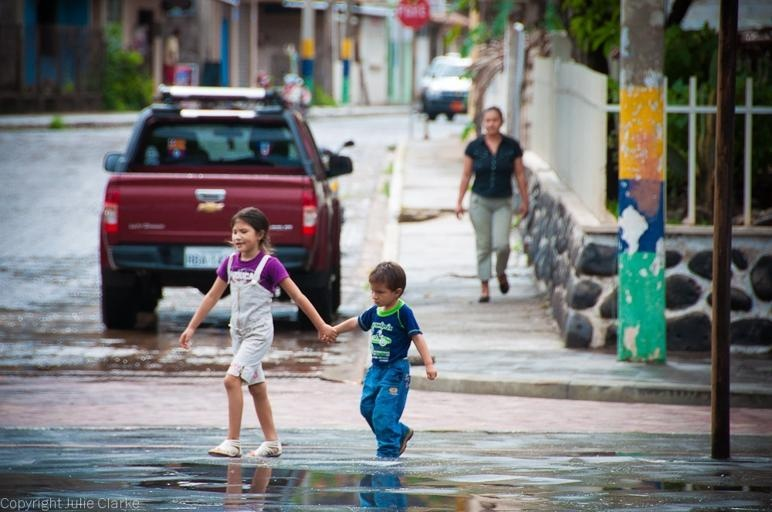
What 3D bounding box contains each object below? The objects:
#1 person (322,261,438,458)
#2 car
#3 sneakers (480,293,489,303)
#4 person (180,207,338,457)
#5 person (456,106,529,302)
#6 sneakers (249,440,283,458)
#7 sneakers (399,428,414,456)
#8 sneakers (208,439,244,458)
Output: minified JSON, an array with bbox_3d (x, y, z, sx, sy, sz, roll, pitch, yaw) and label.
[{"bbox_3d":[0.034,1.014,17.818,0.908,1.976,0.545,12,17,43],"label":"person"},{"bbox_3d":[1.424,-4.349,45.635,1.152,1.150,2.453,0,5,1],"label":"car"},{"bbox_3d":[1.278,0.521,23.540,0.124,0.057,0.165,0,1,1],"label":"sneakers"},{"bbox_3d":[-1.344,0.741,17.953,1.451,2.442,1.008,0,13,2],"label":"person"},{"bbox_3d":[1.369,-0.707,23.416,0.904,2.549,0.511,0,13,2],"label":"person"},{"bbox_3d":[-1.217,1.896,17.809,0.344,0.140,0.136,1,0,-3],"label":"sneakers"},{"bbox_3d":[0.159,1.826,17.943,0.098,0.292,0.136,18,6,39],"label":"sneakers"},{"bbox_3d":[-1.612,1.891,17.782,0.279,0.114,0.165,2,-5,8],"label":"sneakers"}]
